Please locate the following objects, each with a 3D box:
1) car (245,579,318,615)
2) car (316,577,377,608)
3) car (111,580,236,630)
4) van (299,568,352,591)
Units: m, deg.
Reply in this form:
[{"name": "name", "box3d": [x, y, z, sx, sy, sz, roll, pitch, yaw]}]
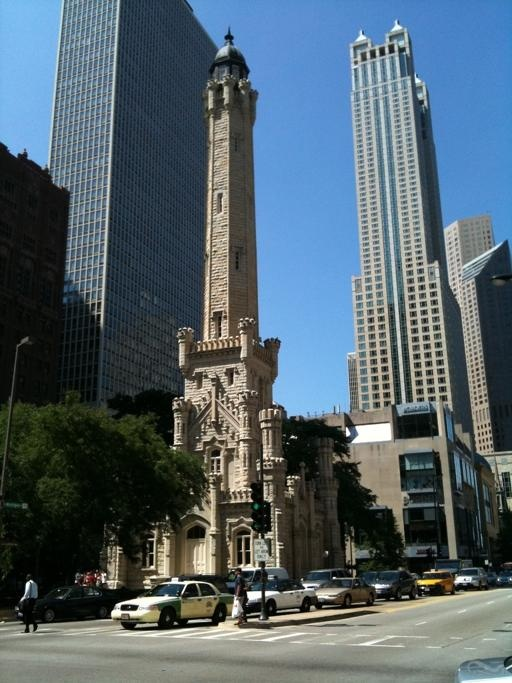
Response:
[{"name": "car", "box3d": [0.695, 9.164, 29.057, 1.897, 1.189, 3.017, -11, -19, 25]}, {"name": "car", "box3d": [3.586, 10.024, 32.127, 1.134, 0.820, 2.504, -22, -39, 31]}, {"name": "car", "box3d": [-2.368, 7.765, 23.909, 1.153, 1.257, 3.805, -13, -20, 30]}, {"name": "van", "box3d": [2.898, 10.257, 35.071, 1.072, 0.903, 2.371, -13, -29, 26]}]
